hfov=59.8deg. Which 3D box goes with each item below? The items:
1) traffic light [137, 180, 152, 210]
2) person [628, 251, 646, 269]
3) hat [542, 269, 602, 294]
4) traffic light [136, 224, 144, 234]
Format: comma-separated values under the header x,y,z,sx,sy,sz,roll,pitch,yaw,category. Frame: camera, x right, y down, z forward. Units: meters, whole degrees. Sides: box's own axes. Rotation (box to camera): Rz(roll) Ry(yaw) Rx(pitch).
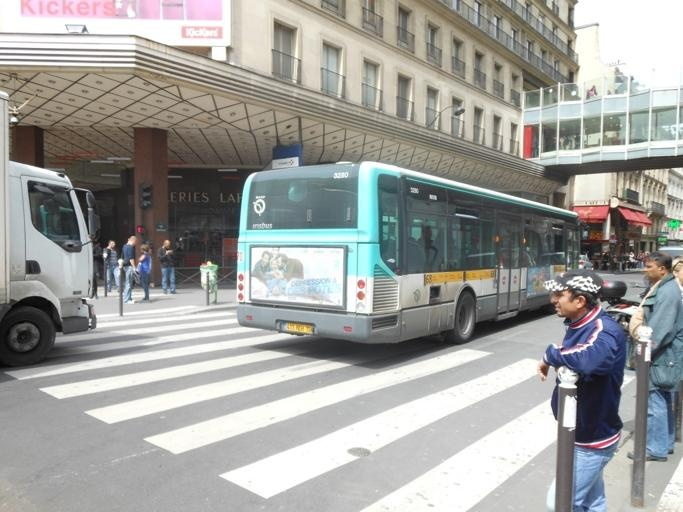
x,y,z,sx,sy,sz,roll,pitch,yaw,category
-7.261,-2.177,21.996,0.516,0.936,0.314,0,8,-6,traffic light
23.488,0.419,47.526,0.955,1.096,3.822,5,10,38,person
2.091,0.243,5.334,0.337,0.185,0.255,5,-2,26,hat
-7.494,-0.952,22.047,0.274,0.305,0.147,-13,17,13,traffic light
